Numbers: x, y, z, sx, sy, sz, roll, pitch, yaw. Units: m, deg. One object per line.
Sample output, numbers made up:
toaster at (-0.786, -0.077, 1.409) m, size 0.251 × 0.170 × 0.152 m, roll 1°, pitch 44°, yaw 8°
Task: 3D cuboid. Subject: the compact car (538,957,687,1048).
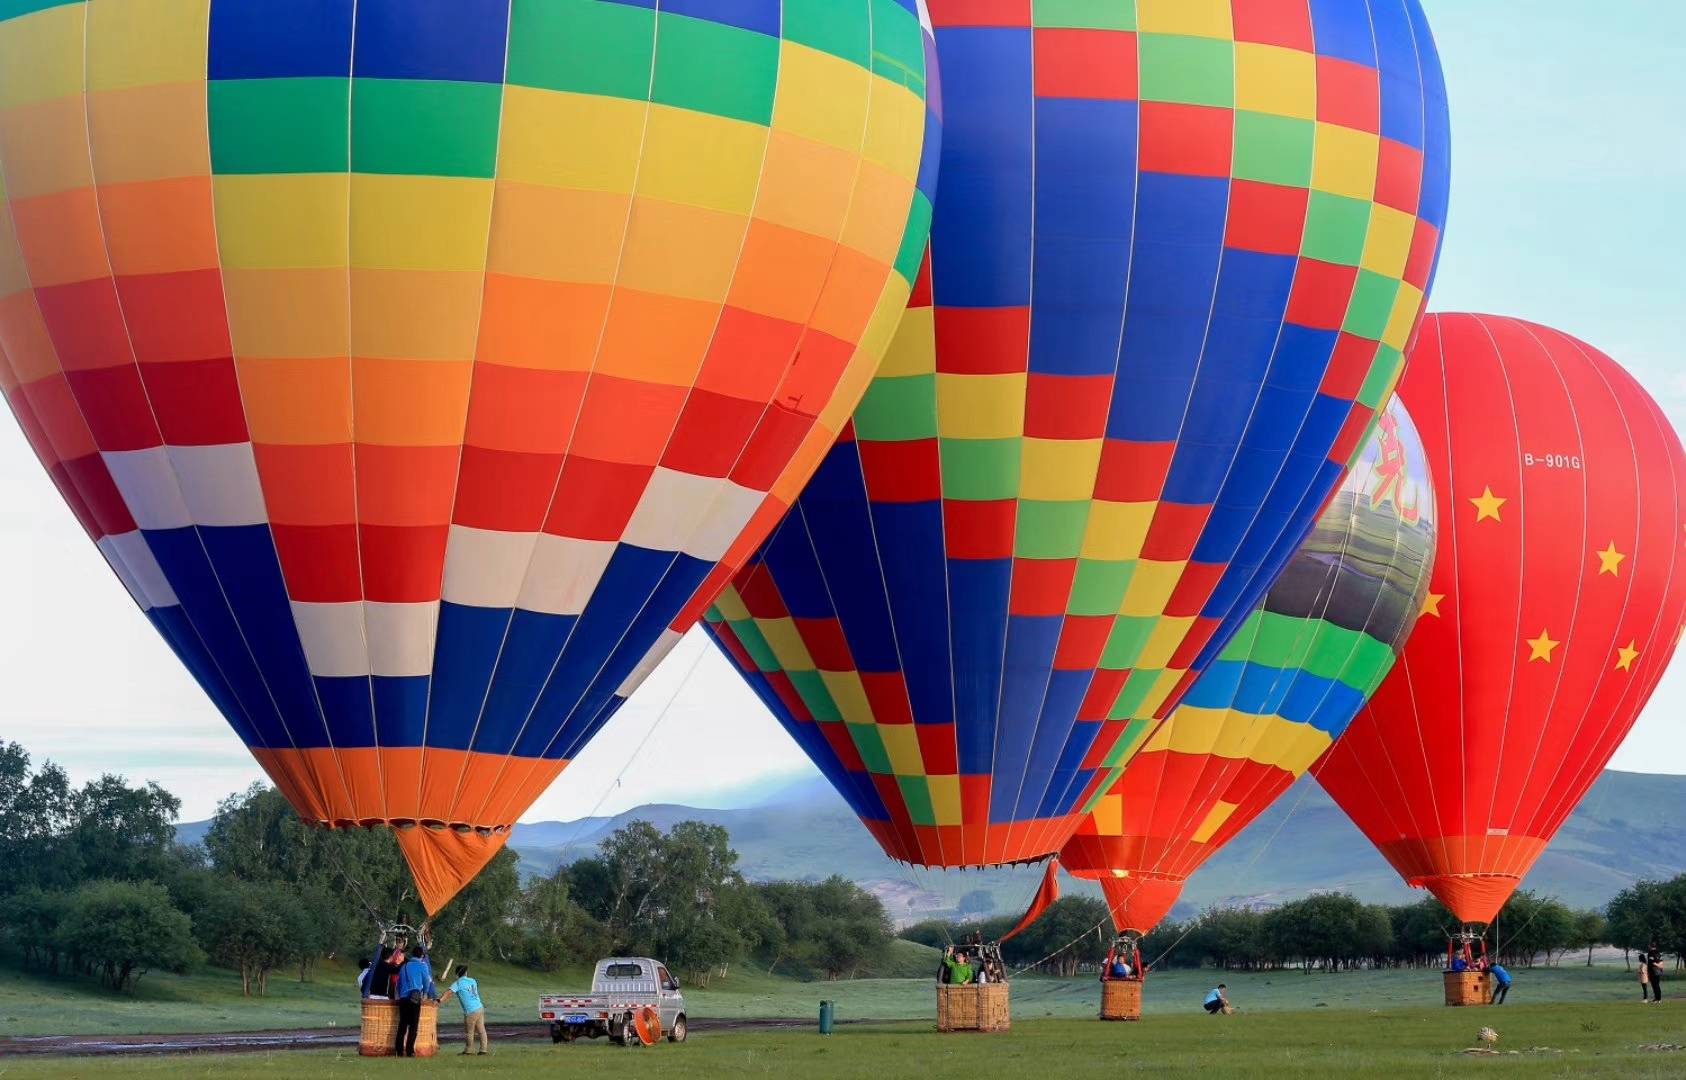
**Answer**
compact car at (-2.998, 6.421, 20.956) m, size 1.183 × 0.897 × 1.862 m, roll -1°, pitch -3°, yaw 27°
